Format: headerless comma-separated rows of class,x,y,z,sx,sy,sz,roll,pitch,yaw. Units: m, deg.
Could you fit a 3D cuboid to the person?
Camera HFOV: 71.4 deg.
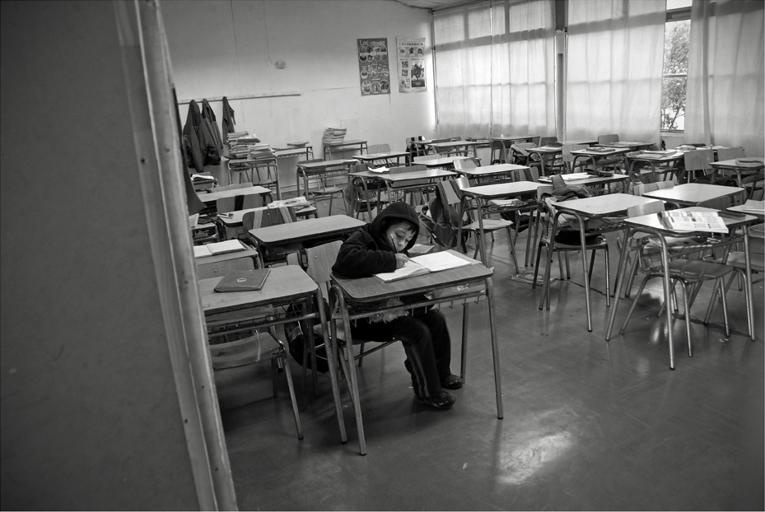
person,0.085,0.307,3.479,0.739,1.298,0.894,-9,8,-40

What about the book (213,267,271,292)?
book,-0.834,0.146,3.171,0.282,0.051,0.367,-4,13,-1

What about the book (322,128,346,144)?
book,-1.058,-2.562,11.333,0.353,0.152,0.439,-12,20,-36

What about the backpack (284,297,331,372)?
backpack,-0.557,0.505,3.549,0.367,0.534,0.159,-17,-8,24

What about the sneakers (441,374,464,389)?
sneakers,0.467,0.848,3.529,0.076,0.054,0.132,-6,3,-19

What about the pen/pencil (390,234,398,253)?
pen/pencil,0.072,-0.084,3.438,0.018,0.143,0.015,-12,3,-43
